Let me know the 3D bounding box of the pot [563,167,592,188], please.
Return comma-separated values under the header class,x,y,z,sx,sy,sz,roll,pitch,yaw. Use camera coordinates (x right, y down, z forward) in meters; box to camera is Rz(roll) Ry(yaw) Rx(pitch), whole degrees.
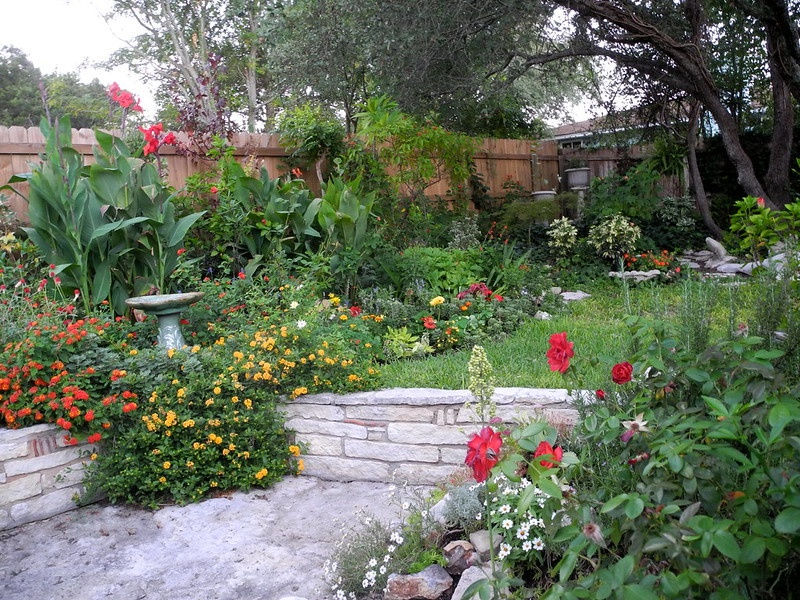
class,x,y,z,sx,sy,sz,roll,pitch,yaw
pot,3.499,-2.354,10.717,0.462,0.371,0.489,0,-1,0
